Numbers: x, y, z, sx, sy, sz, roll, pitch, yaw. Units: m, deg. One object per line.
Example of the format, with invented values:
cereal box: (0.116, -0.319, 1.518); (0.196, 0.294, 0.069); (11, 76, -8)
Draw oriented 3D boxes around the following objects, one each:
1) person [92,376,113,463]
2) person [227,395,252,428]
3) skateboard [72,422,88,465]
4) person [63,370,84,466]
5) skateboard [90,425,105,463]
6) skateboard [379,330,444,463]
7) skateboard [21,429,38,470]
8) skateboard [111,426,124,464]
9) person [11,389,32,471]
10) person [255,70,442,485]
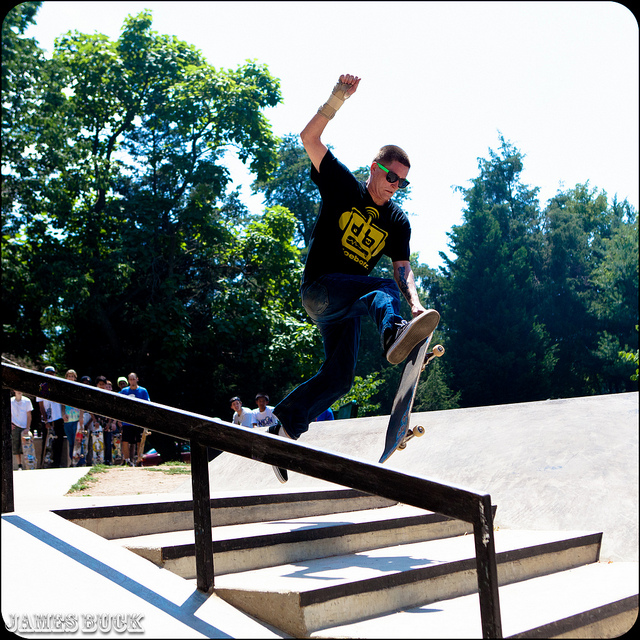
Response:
person: (-2.949, 1.366, 11.402); (0.287, 1.123, 0.906); (5, -6, -8)
person: (-1.083, 1.276, 11.552); (0.285, 0.350, 1.136); (5, -7, -5)
skateboard: (-3.246, 1.662, 11.200); (0.260, 0.551, 0.137); (-1, -7, 40)
person: (-3.415, 1.370, 11.554); (0.276, 1.301, 1.267); (6, -6, -17)
skateboard: (-2.909, 1.623, 10.946); (0.127, 0.550, 0.075); (-4, -10, 13)
skateboard: (0.535, 0.506, 5.283); (0.154, 1.134, 0.252); (17, -11, -11)
skateboard: (-3.808, 1.758, 10.934); (0.178, 0.518, 0.136); (0, -19, -44)
skateboard: (-2.837, 1.744, 11.654); (0.135, 0.496, 0.464); (7, -6, -25)
person: (-3.933, 1.457, 10.930); (0.236, 0.963, 0.687); (6, -6, -20)
person: (0.220, -0.319, 5.652); (0.941, 2.302, 1.167); (4, -6, -4)
